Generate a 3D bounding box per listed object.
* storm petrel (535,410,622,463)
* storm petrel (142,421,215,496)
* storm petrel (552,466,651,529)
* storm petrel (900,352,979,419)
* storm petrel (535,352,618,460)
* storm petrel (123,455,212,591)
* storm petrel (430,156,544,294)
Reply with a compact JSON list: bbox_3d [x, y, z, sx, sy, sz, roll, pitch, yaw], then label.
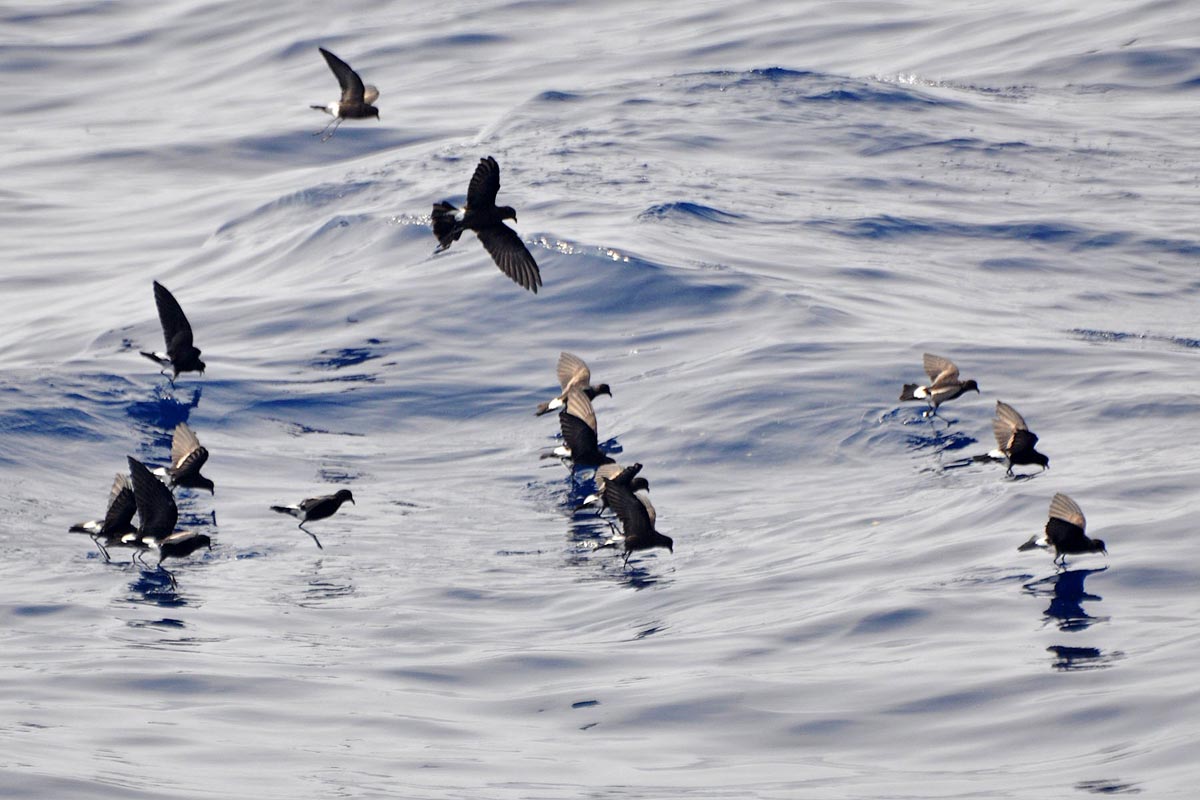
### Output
[{"bbox_3d":[-0.493,0.700,31.223,1.443,1.462,0.598,12,95,7],"label":"storm petrel"},{"bbox_3d":[-7.239,1.025,31.449,1.327,1.358,0.732,21,95,-12],"label":"storm petrel"},{"bbox_3d":[0.121,1.458,30.201,1.505,1.749,0.507,3,96,-5],"label":"storm petrel"},{"bbox_3d":[6.078,-0.113,32.611,1.585,1.359,0.577,8,48,-5],"label":"storm petrel"},{"bbox_3d":[-0.560,-0.007,32.686,1.804,0.877,2.152,-5,40,-8],"label":"storm petrel"},{"bbox_3d":[-6.725,1.744,28.283,1.061,2.381,0.925,14,67,11],"label":"storm petrel"},{"bbox_3d":[-1.905,-2.839,29.513,1.265,3.089,1.525,-13,63,-1],"label":"storm petrel"}]
